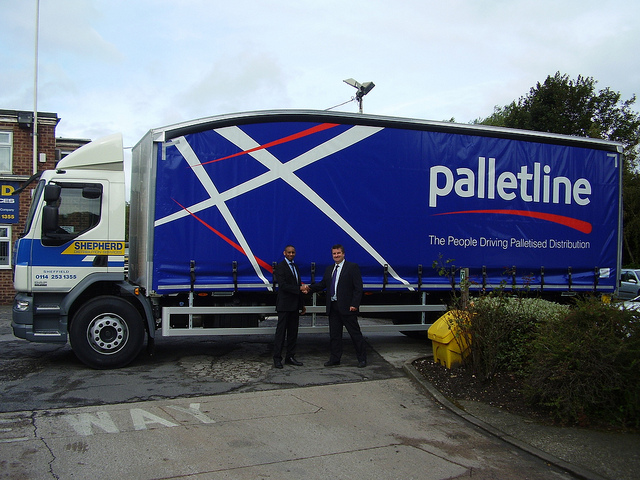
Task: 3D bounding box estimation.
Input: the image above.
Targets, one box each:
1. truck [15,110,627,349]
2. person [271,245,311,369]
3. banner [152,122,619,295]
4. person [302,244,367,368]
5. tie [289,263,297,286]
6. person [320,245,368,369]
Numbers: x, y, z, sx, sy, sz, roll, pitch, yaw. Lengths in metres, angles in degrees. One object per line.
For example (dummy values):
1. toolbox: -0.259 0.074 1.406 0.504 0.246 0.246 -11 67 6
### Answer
1. truck: 1.689 -0.349 12.619 15.066 5.792 4.785 0 0 -16
2. person: -0.518 1.206 9.426 0.674 2.204 1.005 1 2 -3
3. banner: 1.367 -0.441 11.402 9.651 4.089 3.185 2 0 -3
4. person: 0.380 1.192 9.258 0.957 2.198 0.456 1 2 11
5. tie: -0.457 0.566 9.138 0.054 0.501 0.074 -11 -5 -1
6. person: 0.445 1.217 9.560 0.863 2.216 1.144 1 2 2
